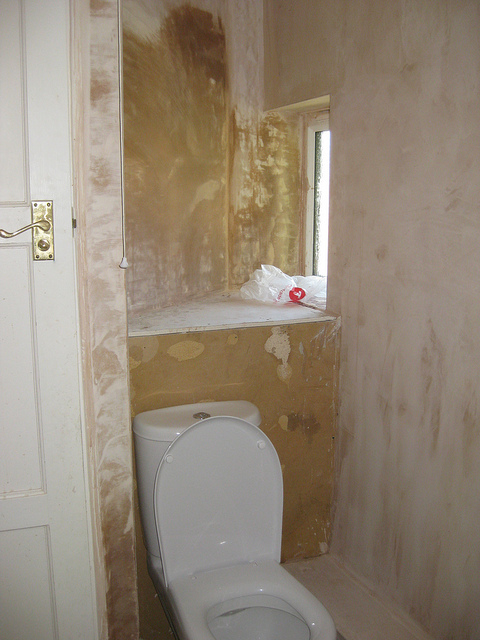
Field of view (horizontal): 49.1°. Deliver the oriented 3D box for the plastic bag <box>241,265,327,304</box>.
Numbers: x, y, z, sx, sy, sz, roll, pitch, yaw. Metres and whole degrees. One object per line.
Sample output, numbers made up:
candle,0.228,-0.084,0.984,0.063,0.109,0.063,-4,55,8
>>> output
plastic bag,0.163,-0.132,2.102,0.192,0.116,0.198,-3,9,19
